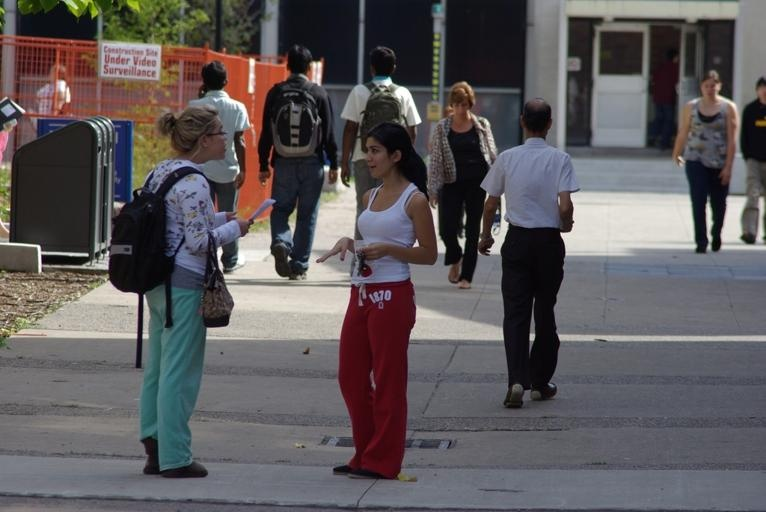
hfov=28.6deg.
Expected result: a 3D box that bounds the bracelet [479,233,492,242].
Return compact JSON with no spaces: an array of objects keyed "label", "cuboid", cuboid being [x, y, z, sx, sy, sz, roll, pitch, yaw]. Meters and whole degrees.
[{"label":"bracelet","cuboid":[1.079,-0.216,15.762,0.089,0.077,0.070,11,1,4]}]

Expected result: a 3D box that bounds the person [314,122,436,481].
[{"label":"person","cuboid":[-0.026,0.400,13.979,0.993,3.244,0.698,1,9,-3]}]

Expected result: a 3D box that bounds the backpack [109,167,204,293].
[{"label":"backpack","cuboid":[-2.138,-0.269,13.813,0.697,1.144,0.307,3,9,9]}]

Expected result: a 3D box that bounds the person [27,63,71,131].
[{"label":"person","cuboid":[-5.083,-2.570,23.258,0.744,1.444,0.744,-1,3,-31]}]

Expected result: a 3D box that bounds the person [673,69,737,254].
[{"label":"person","cuboid":[4.423,-1.309,20.610,0.803,2.457,0.692,3,9,11]}]

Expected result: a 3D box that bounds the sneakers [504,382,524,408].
[{"label":"sneakers","cuboid":[1.353,1.408,15.288,0.122,0.307,0.142,3,54,-4]}]

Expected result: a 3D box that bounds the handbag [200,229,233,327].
[{"label":"handbag","cuboid":[-1.526,0.216,13.869,0.288,0.878,0.266,0,9,-6]}]

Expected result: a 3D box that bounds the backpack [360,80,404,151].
[{"label":"backpack","cuboid":[-0.008,-1.730,18.580,0.552,0.822,0.452,0,6,-11]}]

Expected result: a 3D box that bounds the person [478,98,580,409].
[{"label":"person","cuboid":[1.518,-0.073,15.553,0.767,3.103,0.848,-3,10,-23]}]

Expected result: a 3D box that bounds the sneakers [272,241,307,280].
[{"label":"sneakers","cuboid":[-1.194,0.055,18.978,0.219,0.680,0.294,-8,44,15]}]

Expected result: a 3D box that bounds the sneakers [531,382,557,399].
[{"label":"sneakers","cuboid":[1.675,1.393,15.558,0.118,0.158,0.312,7,18,39]}]

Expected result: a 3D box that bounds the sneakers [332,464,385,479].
[{"label":"sneakers","cuboid":[-0.220,1.985,13.997,0.436,0.144,0.164,12,-8,21]}]

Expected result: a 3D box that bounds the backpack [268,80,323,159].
[{"label":"backpack","cuboid":[-1.083,-1.711,18.685,0.599,0.895,0.492,0,23,-3]}]

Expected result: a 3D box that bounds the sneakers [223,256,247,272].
[{"label":"sneakers","cuboid":[-1.930,0.082,19.528,0.177,0.245,0.547,-1,-1,8]}]

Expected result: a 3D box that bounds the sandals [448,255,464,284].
[{"label":"sandals","cuboid":[0.918,0.223,19.030,0.115,0.154,0.371,4,-33,0]}]
